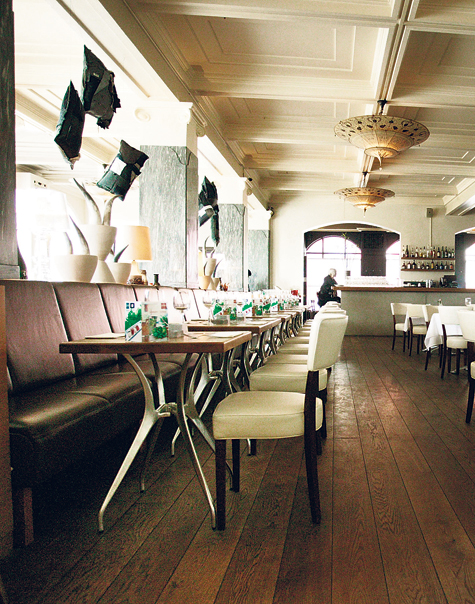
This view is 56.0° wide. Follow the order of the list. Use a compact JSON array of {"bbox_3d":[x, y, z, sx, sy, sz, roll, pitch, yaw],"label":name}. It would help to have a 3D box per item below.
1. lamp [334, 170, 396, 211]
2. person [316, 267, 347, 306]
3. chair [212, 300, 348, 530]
[{"bbox_3d":[2.823,-2.481,9.841,1.134,1.207,1.161,0,3,-8],"label":"lamp"},{"bbox_3d":[2.453,-0.213,11.411,0.647,1.300,0.455,-1,1,16],"label":"person"},{"bbox_3d":[0.154,0.406,2.083,0.687,1.076,0.639,1,-2,2],"label":"chair"}]
